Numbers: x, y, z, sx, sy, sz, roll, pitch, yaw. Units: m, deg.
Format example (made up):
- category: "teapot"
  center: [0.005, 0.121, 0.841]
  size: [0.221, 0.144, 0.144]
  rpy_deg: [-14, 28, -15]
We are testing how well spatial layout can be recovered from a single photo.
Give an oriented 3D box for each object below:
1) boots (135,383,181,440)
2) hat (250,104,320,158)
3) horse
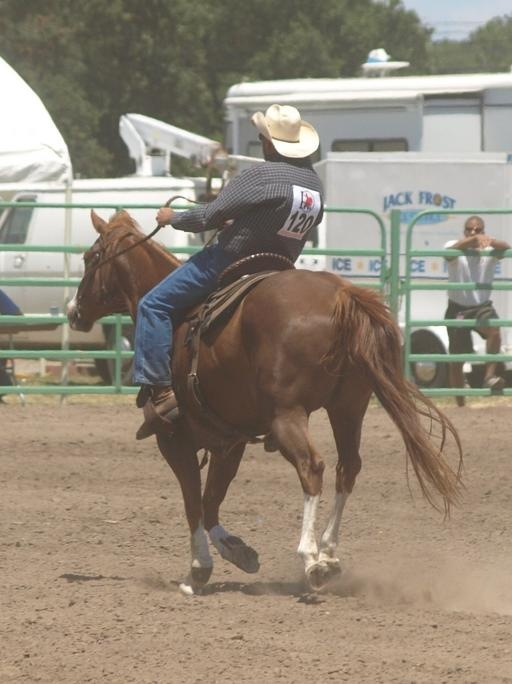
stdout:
- category: "boots"
  center: [-0.471, 0.375, 6.486]
  size: [0.133, 0.191, 0.356]
  rpy_deg: [-8, -26, -24]
- category: "hat"
  center: [0.128, -1.006, 6.226]
  size: [0.311, 0.257, 0.273]
  rpy_deg: [0, 8, -9]
- category: "horse"
  center: [-0.077, 0.293, 6.455]
  size: [0.749, 1.822, 2.665]
  rpy_deg: [2, -4, -44]
